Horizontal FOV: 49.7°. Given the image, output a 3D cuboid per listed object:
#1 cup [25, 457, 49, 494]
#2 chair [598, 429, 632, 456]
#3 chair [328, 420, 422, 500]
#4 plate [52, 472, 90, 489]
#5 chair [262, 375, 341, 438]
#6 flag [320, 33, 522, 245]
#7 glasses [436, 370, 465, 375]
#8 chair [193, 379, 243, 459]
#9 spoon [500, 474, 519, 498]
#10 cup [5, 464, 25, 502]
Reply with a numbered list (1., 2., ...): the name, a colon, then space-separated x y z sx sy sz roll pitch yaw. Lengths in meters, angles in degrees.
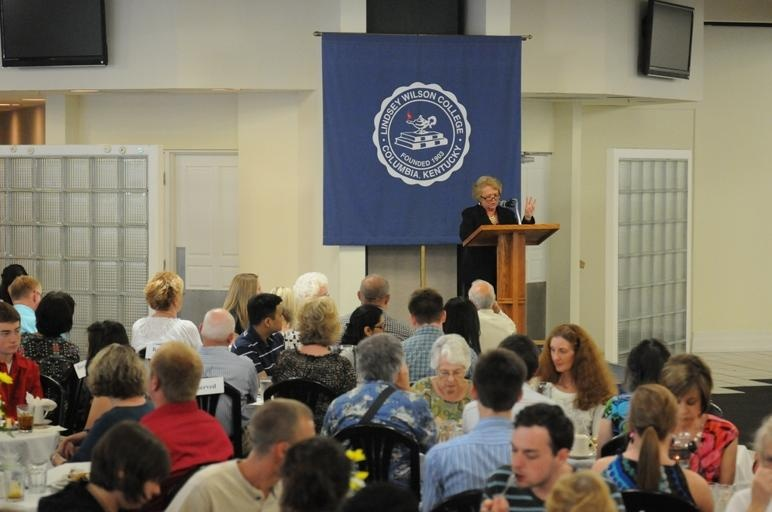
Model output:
1. cup: -2.382 1.484 5.645 0.169 0.225 0.179 0 -2 0
2. chair: 1.601 1.302 5.861 0.159 0.129 0.168 -3 -2 13
3. chair: -0.020 1.346 5.966 0.487 0.780 0.538 1 8 7
4. plate: -2.070 1.481 5.521 0.254 0.102 0.160 0 1 39
5. chair: -0.623 1.133 6.525 0.386 0.679 0.448 2 5 4
6. flag: 0.331 -1.373 9.804 2.266 2.521 0.099 1 -3 -6
7. glasses: 0.481 0.857 6.180 0.192 0.050 0.070 -1 1 6
8. chair: -1.283 1.249 6.463 0.367 0.648 0.196 -1 1 -25
9. spoon: 0.746 1.384 5.009 0.023 0.147 0.020 27 -3 32
10. cup: -2.460 1.508 5.501 0.114 0.184 0.117 -1 1 0
